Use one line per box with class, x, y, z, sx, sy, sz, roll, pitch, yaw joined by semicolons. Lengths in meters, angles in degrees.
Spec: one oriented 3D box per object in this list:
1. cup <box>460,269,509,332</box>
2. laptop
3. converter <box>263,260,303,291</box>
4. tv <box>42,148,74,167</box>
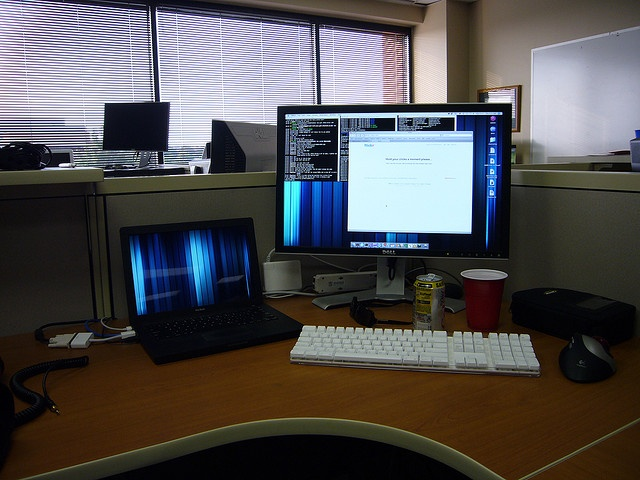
cup;0.428;0.158;1.430;0.149;0.167;0.147;-1;7;0
laptop;-0.337;0.036;1.400;0.438;0.304;0.378;-7;13;-31
converter;-0.121;0.105;1.641;0.106;0.099;0.024;-1;2;-15
tv;-1.645;-0.537;3.216;0.131;0.119;2.099;-7;12;-26
